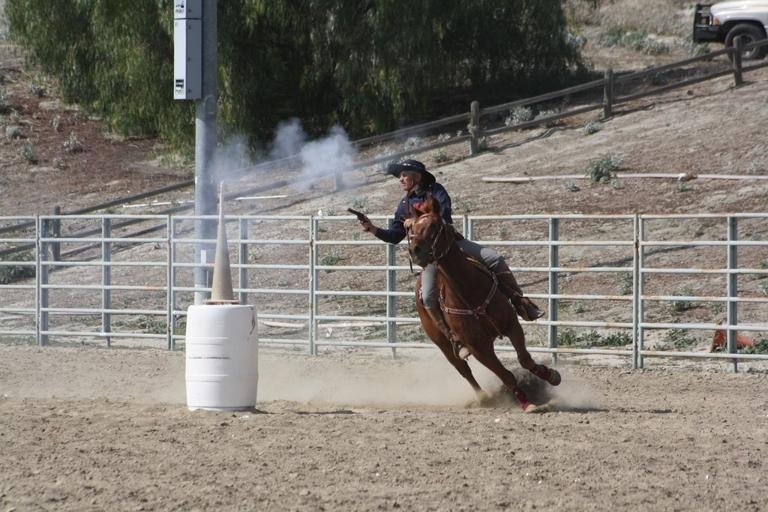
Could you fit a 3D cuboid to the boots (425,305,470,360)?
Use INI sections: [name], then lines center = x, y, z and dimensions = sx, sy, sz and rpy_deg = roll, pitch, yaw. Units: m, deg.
[boots]
center = 1.641, 1.801, 45.771
dimensions = 0.339, 1.367, 0.400
rpy_deg = -30, -3, 30
